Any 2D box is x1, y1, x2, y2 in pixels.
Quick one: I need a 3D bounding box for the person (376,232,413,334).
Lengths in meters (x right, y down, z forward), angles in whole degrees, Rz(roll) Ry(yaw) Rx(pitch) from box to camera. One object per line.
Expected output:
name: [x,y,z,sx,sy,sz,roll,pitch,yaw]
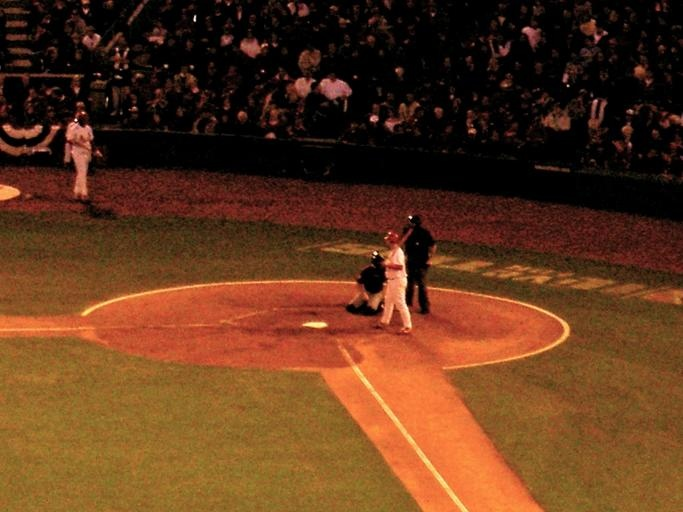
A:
person: [0.997,0.396,15.491,0.663,1.746,1.223,7,14,3]
